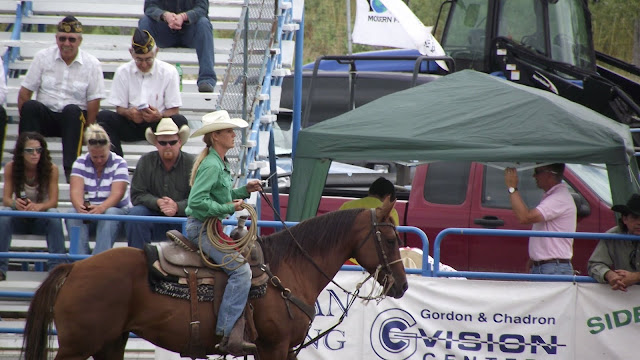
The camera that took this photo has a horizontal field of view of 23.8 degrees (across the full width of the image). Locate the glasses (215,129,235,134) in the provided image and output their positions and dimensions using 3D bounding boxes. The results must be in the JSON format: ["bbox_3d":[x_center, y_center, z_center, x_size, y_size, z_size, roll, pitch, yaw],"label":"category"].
[{"bbox_3d":[-1.850,-0.937,29.809,0.217,0.078,0.154,-10,1,15],"label":"glasses"}]

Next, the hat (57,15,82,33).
[{"bbox_3d":[-5.419,-3.407,33.095,0.410,0.255,0.415,2,-1,-6],"label":"hat"}]

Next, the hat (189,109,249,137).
[{"bbox_3d":[-1.982,-1.098,29.847,0.789,0.281,0.664,-10,-1,-14],"label":"hat"}]

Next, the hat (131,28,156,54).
[{"bbox_3d":[-3.793,-2.954,32.731,0.429,0.327,0.577,-11,34,3],"label":"hat"}]

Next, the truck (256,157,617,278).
[{"bbox_3d":[3.273,0.795,34.334,5.971,2.427,3.207,-1,3,6],"label":"truck"}]

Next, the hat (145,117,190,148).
[{"bbox_3d":[-3.120,-1.035,32.158,0.727,0.303,0.788,-4,-6,2],"label":"hat"}]
